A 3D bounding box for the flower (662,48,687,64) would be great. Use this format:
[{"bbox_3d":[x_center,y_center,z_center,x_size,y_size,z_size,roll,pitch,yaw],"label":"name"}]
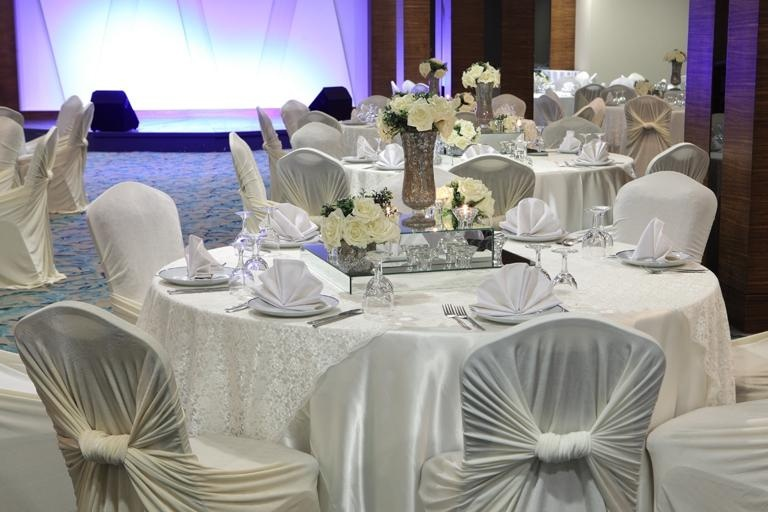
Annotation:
[{"bbox_3d":[5.002,-3.402,9.181,0.316,0.248,0.329,4,18,23],"label":"flower"}]
